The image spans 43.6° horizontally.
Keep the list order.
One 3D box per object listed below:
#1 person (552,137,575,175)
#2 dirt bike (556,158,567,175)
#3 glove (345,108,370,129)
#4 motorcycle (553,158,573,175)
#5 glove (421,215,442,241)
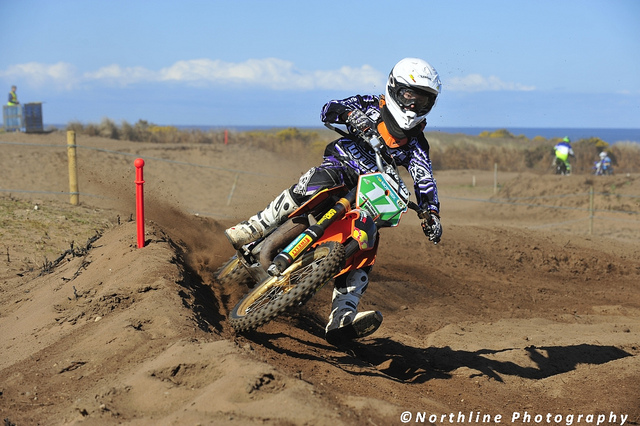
[{"bbox_3d":[7.975,-1.880,26.288,0.592,1.204,0.863,1,7,13],"label":"person"},{"bbox_3d":[7.904,-1.560,26.366,0.286,0.552,0.648,1,7,16],"label":"dirt bike"},{"bbox_3d":[0.615,-1.493,12.687,0.310,0.296,0.166,5,9,39],"label":"glove"},{"bbox_3d":[7.954,-1.499,26.405,0.349,0.454,0.701,26,-3,11],"label":"motorcycle"},{"bbox_3d":[1.805,0.230,12.760,0.180,0.286,0.396,-5,36,-37],"label":"glove"}]
